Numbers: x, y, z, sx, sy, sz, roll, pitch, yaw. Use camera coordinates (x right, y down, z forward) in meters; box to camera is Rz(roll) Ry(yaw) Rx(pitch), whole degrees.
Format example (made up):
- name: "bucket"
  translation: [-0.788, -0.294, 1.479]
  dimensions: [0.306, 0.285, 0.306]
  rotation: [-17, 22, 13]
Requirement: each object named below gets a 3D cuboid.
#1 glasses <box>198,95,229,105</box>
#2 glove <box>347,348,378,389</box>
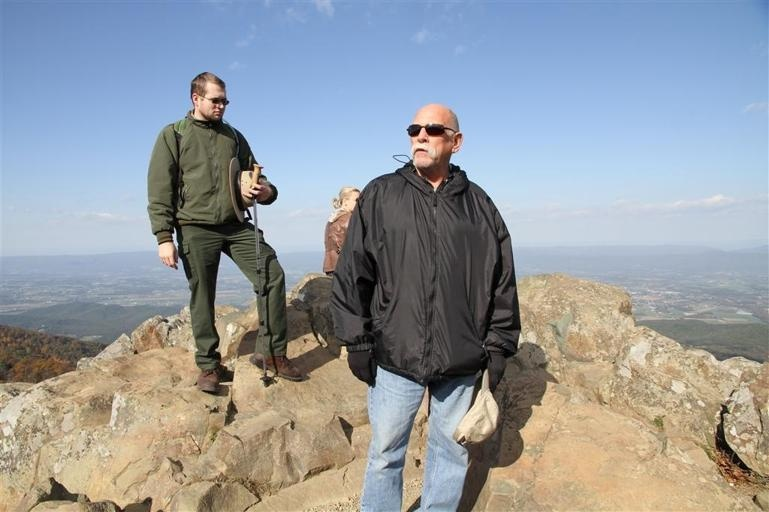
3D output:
- name: "glasses"
  translation: [-2.223, -2.066, 6.435]
  dimensions: [0.297, 0.101, 0.228]
  rotation: [-1, 1, -29]
- name: "glove"
  translation: [-0.223, 1.146, 4.972]
  dimensions: [0.301, 0.410, 0.166]
  rotation: [0, 2, -10]
